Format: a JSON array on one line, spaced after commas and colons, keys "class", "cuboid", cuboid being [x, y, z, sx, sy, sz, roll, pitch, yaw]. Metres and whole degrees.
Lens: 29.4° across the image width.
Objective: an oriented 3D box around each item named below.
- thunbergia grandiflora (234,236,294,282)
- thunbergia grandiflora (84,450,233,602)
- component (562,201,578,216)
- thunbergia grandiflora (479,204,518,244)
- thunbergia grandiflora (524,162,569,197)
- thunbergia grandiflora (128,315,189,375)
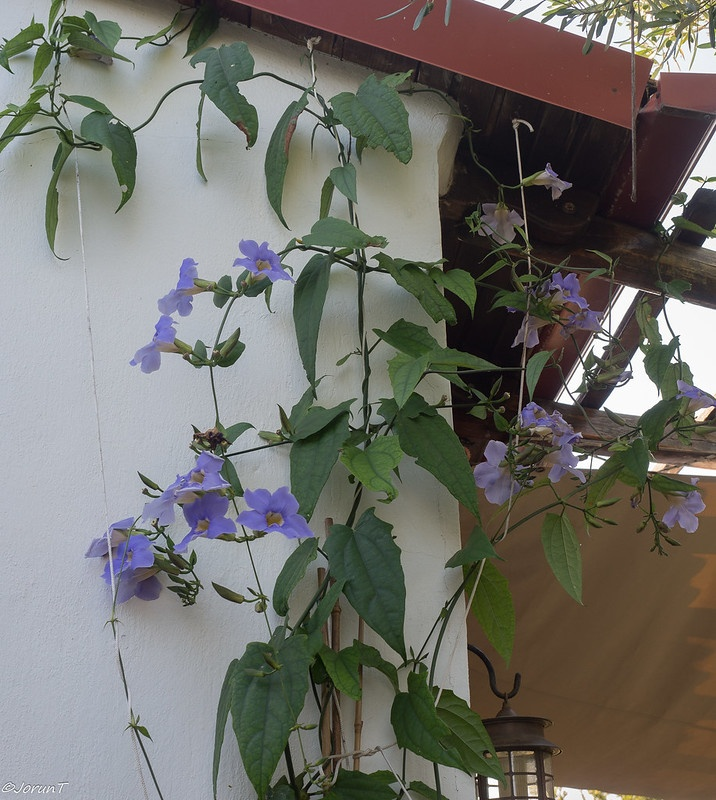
[{"class": "thunbergia grandiflora", "cuboid": [-0.164, -0.249, 2.449, 0.088, 0.029, 0.083, -13, 68, -39]}, {"class": "thunbergia grandiflora", "cuboid": [-0.341, 0.221, 2.359, 0.243, 0.286, 0.186, 3, 25, -10]}, {"class": "component", "cuboid": [0.499, -0.452, 3.218, 0.031, 0.027, 0.008, 9, 5, -5]}, {"class": "thunbergia grandiflora", "cuboid": [0.292, -0.357, 2.790, 0.096, 0.082, 0.027, 1, 7, 5]}, {"class": "thunbergia grandiflora", "cuboid": [0.412, -0.482, 2.968, 0.101, 0.093, 0.039, 25, 71, 7]}, {"class": "thunbergia grandiflora", "cuboid": [-0.350, -0.094, 2.410, 0.059, 0.100, 0.085, 16, 25, 15]}]
